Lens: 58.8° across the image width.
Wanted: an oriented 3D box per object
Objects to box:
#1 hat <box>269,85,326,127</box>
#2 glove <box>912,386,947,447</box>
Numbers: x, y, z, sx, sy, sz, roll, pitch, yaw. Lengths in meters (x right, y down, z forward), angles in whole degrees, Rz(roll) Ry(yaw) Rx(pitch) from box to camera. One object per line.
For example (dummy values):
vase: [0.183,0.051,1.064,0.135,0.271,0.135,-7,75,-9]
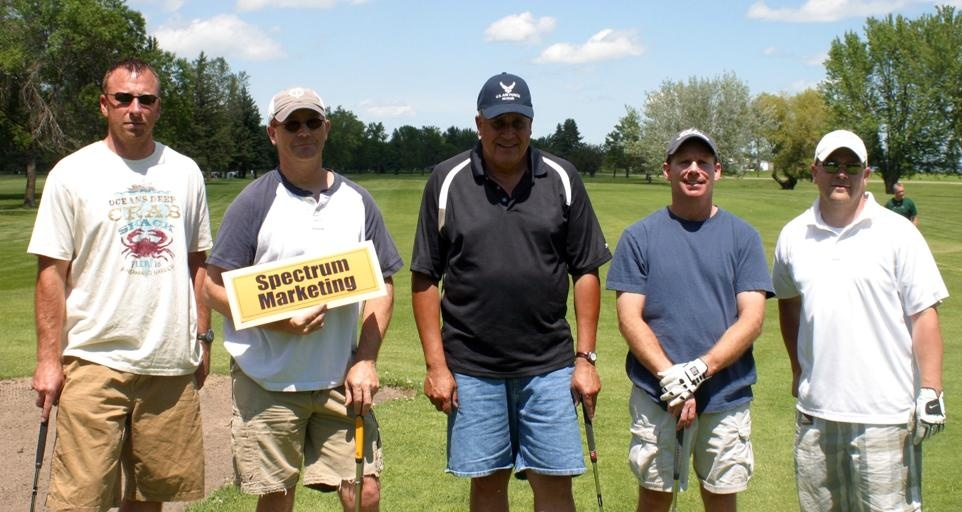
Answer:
hat: [-1.890,-1.542,8.786,0.595,0.350,0.759,-11,6,-27]
glove: [4.410,1.557,8.531,0.426,0.476,0.233,-3,8,-26]
